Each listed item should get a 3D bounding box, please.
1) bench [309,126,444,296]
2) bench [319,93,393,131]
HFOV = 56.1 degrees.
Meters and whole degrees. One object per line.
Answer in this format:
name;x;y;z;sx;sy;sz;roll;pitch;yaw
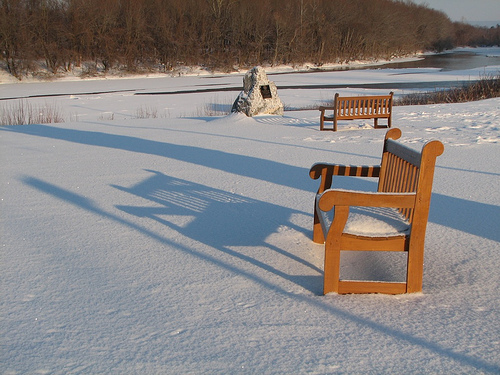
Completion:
bench;1.208;0.149;4.694;1.064;1.408;1.359;1;16;7
bench;2.811;-2.080;12.313;1.723;0.953;2.429;3;17;14
